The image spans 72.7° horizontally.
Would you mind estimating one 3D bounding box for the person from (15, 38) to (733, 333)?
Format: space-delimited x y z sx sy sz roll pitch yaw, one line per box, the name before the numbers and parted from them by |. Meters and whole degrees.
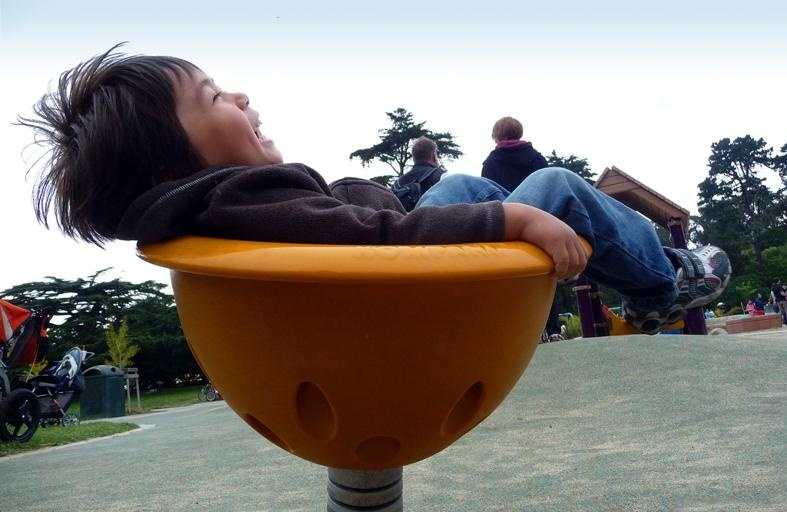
person | -0.128 -0.222 1.751 1.796 0.623 0.997 0 -2 -8
